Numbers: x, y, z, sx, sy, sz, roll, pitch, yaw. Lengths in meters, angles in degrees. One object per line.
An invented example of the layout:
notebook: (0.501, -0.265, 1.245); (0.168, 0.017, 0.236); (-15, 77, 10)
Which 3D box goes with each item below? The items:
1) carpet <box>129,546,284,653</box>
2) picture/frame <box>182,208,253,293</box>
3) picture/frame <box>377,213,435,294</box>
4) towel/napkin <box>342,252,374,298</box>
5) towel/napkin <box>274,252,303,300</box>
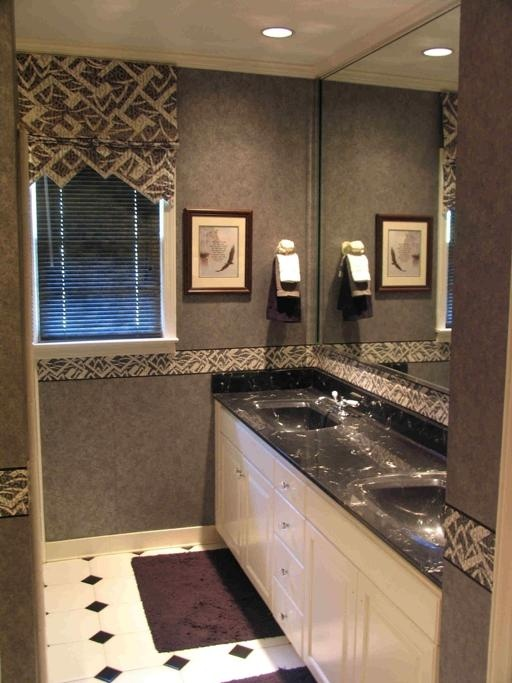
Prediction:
carpet: (-0.340, 1.221, 2.827); (0.416, 0.693, 0.009); (-10, 28, 9)
picture/frame: (-0.222, -0.505, 3.209); (0.443, 0.559, 0.040); (-2, 5, -22)
picture/frame: (0.632, -0.369, 2.478); (0.026, 0.368, 0.361); (-3, 6, -24)
towel/napkin: (0.494, -0.324, 2.891); (0.134, 0.186, 0.055); (-2, -4, -44)
towel/napkin: (0.182, -0.370, 3.276); (0.142, 0.232, 0.137); (-2, 13, -5)
